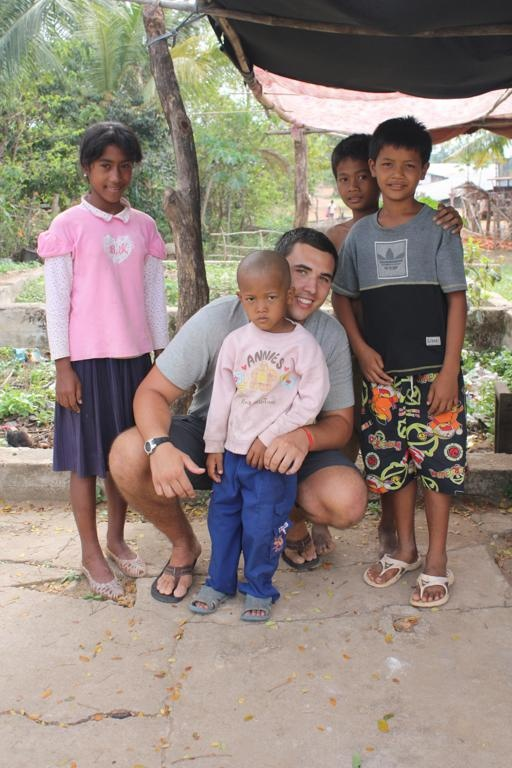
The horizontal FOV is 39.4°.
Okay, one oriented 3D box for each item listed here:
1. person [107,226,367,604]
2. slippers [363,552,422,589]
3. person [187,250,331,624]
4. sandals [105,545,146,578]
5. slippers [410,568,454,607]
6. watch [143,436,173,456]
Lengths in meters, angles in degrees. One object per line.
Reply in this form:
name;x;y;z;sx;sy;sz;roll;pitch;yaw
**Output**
person;-0.101;0.099;2.736;0.963;1.139;0.709;-6;28;11
slippers;0.548;0.741;2.883;0.231;0.060;0.094;-9;9;-41
person;0.004;0.304;2.575;0.438;1.063;0.330;3;15;17
sandals;-0.553;0.751;3.007;0.087;0.048;0.206;-3;15;-42
slippers;0.678;0.758;2.714;0.123;0.093;0.242;6;14;28
watch;-0.369;0.206;2.570;0.098;0.092;0.053;-1;46;-27
